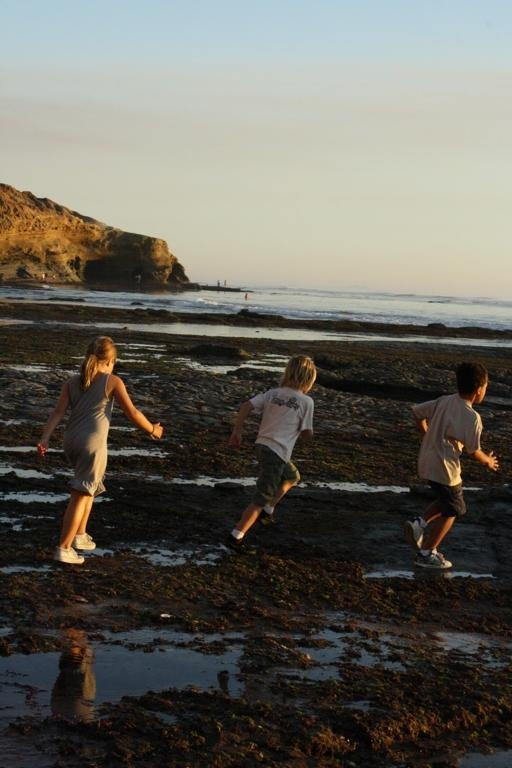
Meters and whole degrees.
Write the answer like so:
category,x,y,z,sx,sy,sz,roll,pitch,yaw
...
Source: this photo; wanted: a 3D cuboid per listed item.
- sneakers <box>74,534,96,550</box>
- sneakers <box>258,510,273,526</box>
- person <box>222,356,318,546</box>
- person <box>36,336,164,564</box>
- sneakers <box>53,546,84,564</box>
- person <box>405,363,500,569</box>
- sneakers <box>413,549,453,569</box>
category,x,y,z,sx,sy,sz,roll,pitch,yaw
sneakers,-1.078,0.990,5.224,0.076,0.063,0.151,3,6,13
sneakers,0.068,0.979,6.079,0.063,0.065,0.168,6,5,8
person,0.095,0.440,5.782,0.538,1.316,0.795,7,7,2
person,-1.003,0.385,5.172,0.685,1.347,0.700,5,7,-13
sneakers,-1.093,1.019,4.960,0.200,0.080,0.081,12,4,-38
person,1.318,0.521,5.705,0.580,1.374,0.611,8,7,10
sneakers,1.164,1.170,5.543,0.291,0.111,0.095,2,5,-9
